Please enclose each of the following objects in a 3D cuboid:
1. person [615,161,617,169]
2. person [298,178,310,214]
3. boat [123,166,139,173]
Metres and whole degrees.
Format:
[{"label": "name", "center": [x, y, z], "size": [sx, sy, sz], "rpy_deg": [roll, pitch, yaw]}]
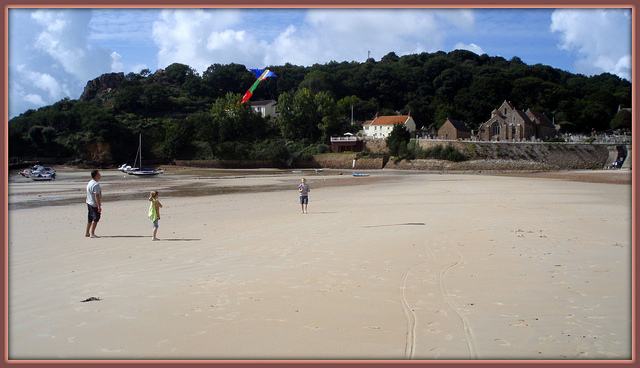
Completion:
[{"label": "person", "center": [47.055, -3.158, 84.067], "size": [0.319, 0.948, 1.633], "rpy_deg": [1, 4, 27]}, {"label": "person", "center": [-1.039, 0.733, 34.028], "size": [0.488, 2.082, 1.500], "rpy_deg": [-2, 4, -1]}, {"label": "boat", "center": [-30.855, -2.603, 85.372], "size": [1.508, 1.145, 2.542], "rpy_deg": [1, -4, -20]}]
